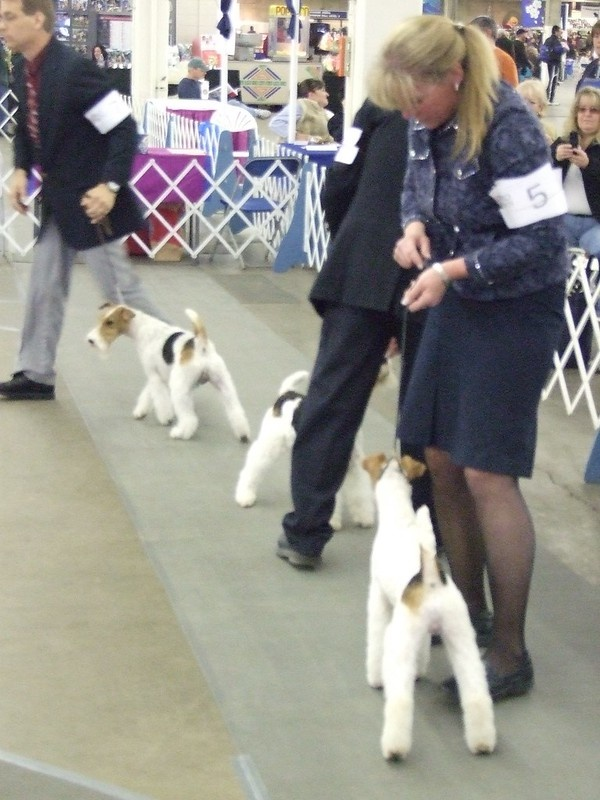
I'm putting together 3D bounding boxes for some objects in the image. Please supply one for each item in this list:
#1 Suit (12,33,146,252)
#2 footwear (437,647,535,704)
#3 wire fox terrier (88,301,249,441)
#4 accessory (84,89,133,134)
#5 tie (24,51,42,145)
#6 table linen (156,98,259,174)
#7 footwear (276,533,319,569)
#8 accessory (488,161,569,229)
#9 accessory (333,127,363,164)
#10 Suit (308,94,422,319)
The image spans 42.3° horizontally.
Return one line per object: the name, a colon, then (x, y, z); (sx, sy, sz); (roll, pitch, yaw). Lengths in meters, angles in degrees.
Suit: (-1.152, -1.340, 4.050); (0.698, 1.151, 0.590); (11, 37, 11)
footwear: (0.522, 0.693, 1.955); (0.094, 0.096, 0.237); (-7, -15, -30)
wire fox terrier: (-0.670, -0.182, 4.017); (1.084, 0.624, 0.340); (17, 22, 40)
accessory: (-0.931, -1.426, 3.856); (0.157, 0.207, 0.228); (13, 16, 36)
tie: (-1.305, -1.507, 3.817); (0.087, 0.338, 0.086); (-4, -4, -7)
table linen: (-1.283, -3.599, 10.620); (0.853, 0.812, 2.610); (0, 16, -14)
footwear: (-0.010, 0.522, 2.621); (0.110, 0.041, 0.116); (16, 10, -39)
accessory: (0.451, -0.392, 1.510); (0.147, 0.112, 0.053); (-10, 12, 35)
accessory: (0.134, -0.748, 2.298); (0.061, 0.111, 0.149); (1, 13, -11)
Suit: (0.196, -0.574, 2.301); (0.304, 0.755, 0.261); (4, 28, -11)
